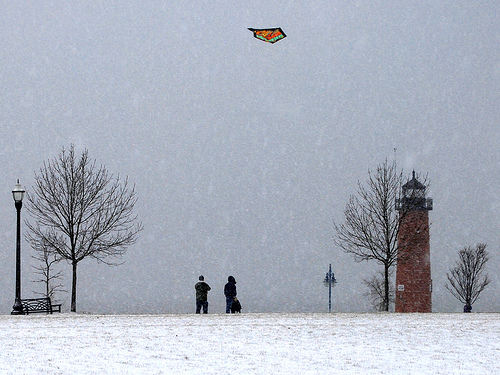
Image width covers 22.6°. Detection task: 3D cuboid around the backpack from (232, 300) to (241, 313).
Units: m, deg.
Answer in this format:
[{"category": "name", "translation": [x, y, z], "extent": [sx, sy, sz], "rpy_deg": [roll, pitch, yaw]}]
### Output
[{"category": "backpack", "translation": [-0.581, 5.240, 55.404], "extent": [0.272, 0.523, 0.437], "rpy_deg": [-8, -14, 28]}]
